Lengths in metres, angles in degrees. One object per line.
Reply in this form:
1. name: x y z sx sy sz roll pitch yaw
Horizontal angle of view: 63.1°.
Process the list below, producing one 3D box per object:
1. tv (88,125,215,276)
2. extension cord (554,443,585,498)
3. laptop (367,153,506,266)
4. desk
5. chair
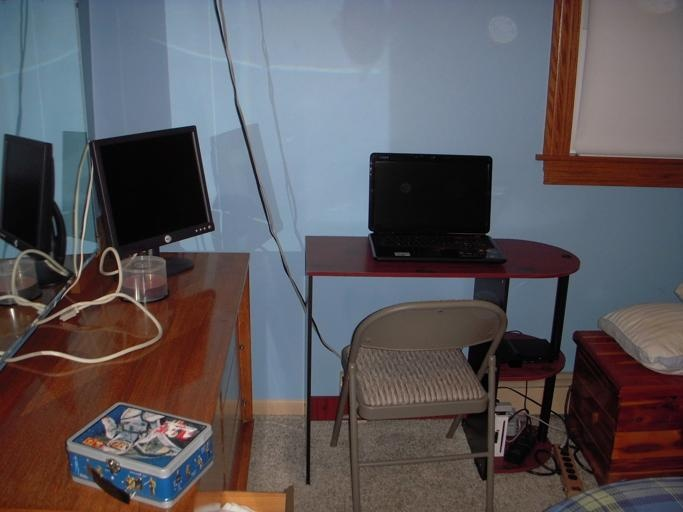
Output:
1. tv: -0.693 -0.198 1.996 0.152 0.515 0.433 6 22 28
2. extension cord: 0.941 0.895 2.299 0.058 0.055 0.242 -10 30 12
3. laptop: 0.375 -0.209 2.230 0.509 0.381 0.385 0 16 -2
4. desk: 0.401 0.420 2.271 0.848 0.834 0.384 -1 29 -2
5. chair: 0.314 0.603 2.160 0.518 0.930 0.583 -3 30 -5
